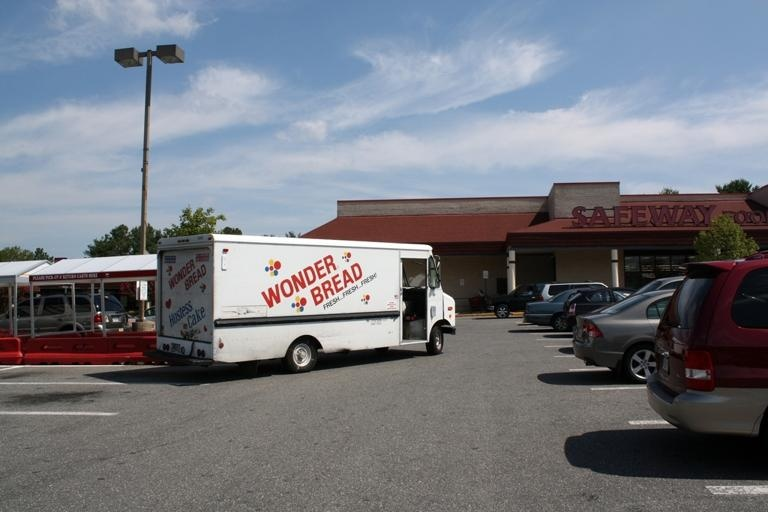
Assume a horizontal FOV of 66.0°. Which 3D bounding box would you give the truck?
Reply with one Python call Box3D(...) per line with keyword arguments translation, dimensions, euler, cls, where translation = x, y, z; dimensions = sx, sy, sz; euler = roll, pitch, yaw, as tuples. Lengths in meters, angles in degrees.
Box3D(translation=(-1.726, 1.169, 16.163), dimensions=(8.193, 3.392, 2.714), euler=(-1, 0, -37), cls="truck")
